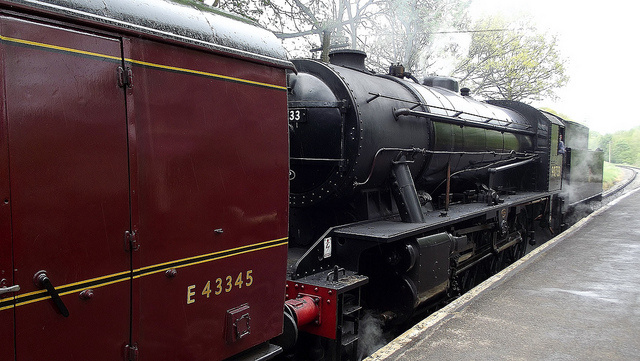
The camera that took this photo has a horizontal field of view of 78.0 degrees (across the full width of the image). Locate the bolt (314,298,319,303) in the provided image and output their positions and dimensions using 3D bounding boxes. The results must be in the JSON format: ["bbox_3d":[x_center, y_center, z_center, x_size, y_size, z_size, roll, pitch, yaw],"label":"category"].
[{"bbox_3d":[-0.059,1.486,4.900,0.062,0.055,0.014,5,-3,-2],"label":"bolt"}]

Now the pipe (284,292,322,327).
[{"bbox_3d":[-0.211,1.634,4.822,0.350,0.394,0.423,5,11,21],"label":"pipe"}]

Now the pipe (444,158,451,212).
[{"bbox_3d":[2.286,0.094,7.223,0.095,0.984,0.784,5,11,18],"label":"pipe"}]

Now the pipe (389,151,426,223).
[{"bbox_3d":[1.325,0.188,6.188,0.521,0.913,0.322,11,15,43],"label":"pipe"}]
